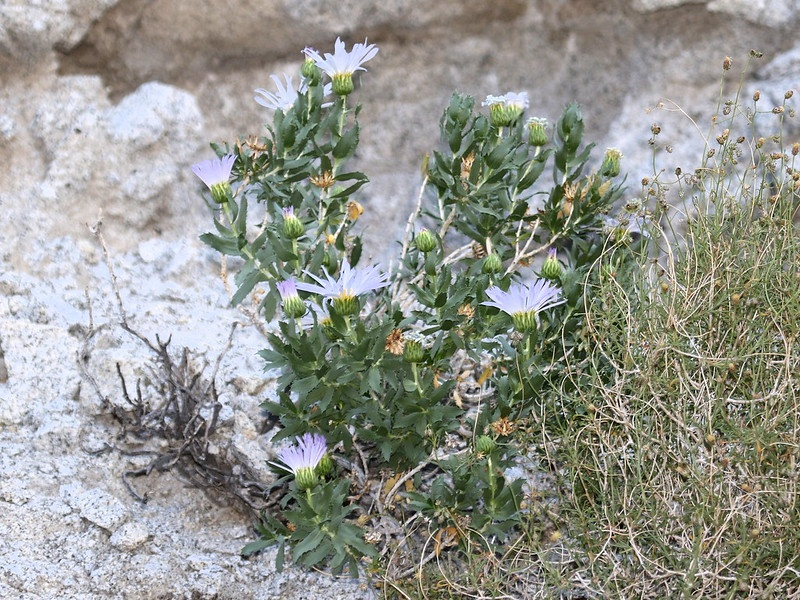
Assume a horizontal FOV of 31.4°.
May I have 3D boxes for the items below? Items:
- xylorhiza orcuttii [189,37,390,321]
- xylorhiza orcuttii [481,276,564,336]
[{"bbox_3d":[-0.404,-0.432,4.934,0.595,1.079,0.587,20,19,15],"label":"xylorhiza orcuttii"},{"bbox_3d":[0.396,0.042,4.507,0.236,0.220,0.124,-15,74,52],"label":"xylorhiza orcuttii"}]
